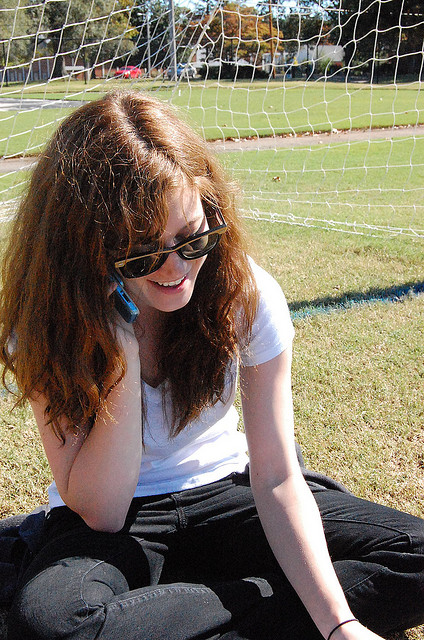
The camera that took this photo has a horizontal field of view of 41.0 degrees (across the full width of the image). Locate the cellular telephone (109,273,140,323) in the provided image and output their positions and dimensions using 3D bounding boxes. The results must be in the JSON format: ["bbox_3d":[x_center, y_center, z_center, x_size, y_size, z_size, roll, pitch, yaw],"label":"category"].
[{"bbox_3d":[-0.208,-0.052,1.340,0.069,0.116,0.035,3,16,-9],"label":"cellular telephone"}]

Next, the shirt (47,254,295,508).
[{"bbox_3d":[-0.103,0.150,1.334,0.534,0.499,0.296,-11,-5,-16],"label":"shirt"}]
